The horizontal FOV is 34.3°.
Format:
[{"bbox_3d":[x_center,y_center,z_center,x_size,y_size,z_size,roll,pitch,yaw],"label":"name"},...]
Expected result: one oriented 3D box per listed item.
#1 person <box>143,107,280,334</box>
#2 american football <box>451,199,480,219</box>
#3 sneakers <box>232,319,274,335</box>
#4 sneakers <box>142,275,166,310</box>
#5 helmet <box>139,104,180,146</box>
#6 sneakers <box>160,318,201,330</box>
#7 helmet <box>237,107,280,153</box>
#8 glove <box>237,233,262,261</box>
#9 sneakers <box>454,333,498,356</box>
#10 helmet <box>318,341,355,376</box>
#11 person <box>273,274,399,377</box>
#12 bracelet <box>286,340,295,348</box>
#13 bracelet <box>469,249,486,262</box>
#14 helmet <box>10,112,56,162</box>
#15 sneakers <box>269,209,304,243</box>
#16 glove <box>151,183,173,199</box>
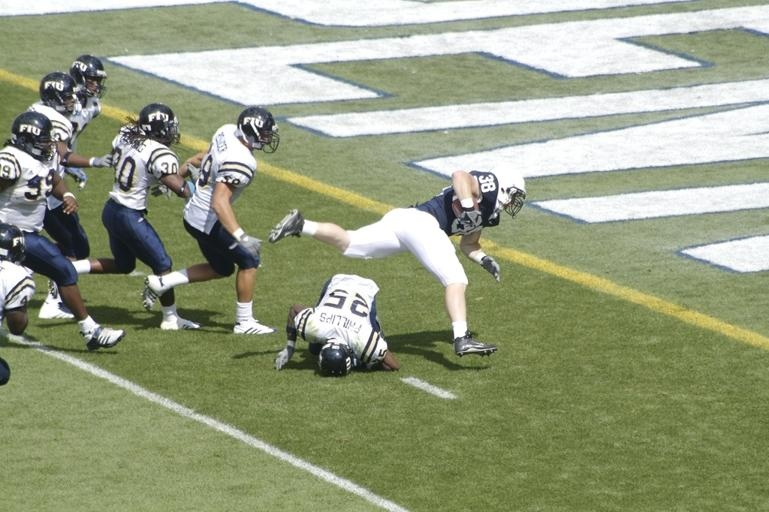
[{"bbox_3d":[-1.471,-0.345,11.977,1.248,2.197,1.099,15,17,14],"label":"person"},{"bbox_3d":[0.761,-0.432,11.662,0.147,0.157,0.240,-27,11,-18],"label":"american football"},{"bbox_3d":[-1.303,0.694,12.076,0.488,0.145,0.135,-2,12,-10],"label":"sneakers"},{"bbox_3d":[-2.258,0.364,12.067,0.253,0.421,0.160,-12,59,-28],"label":"sneakers"},{"bbox_3d":[-2.179,-1.275,12.001,0.474,0.284,0.296,6,8,-7],"label":"helmet"},{"bbox_3d":[-2.016,0.682,12.105,0.432,0.128,0.123,-2,7,-8],"label":"sneakers"},{"bbox_3d":[-1.245,-1.199,11.820,0.544,0.330,0.336,8,10,-15],"label":"helmet"},{"bbox_3d":[-1.239,-0.060,11.489,0.250,0.086,0.232,29,17,2],"label":"glove"},{"bbox_3d":[0.788,0.812,11.287,0.549,0.196,0.152,-2,3,-3],"label":"sneakers"},{"bbox_3d":[-0.441,0.933,11.224,0.332,0.298,0.356,3,-3,3],"label":"helmet"},{"bbox_3d":[-0.304,0.596,11.515,1.279,0.622,1.285,4,41,5],"label":"person"},{"bbox_3d":[-0.863,0.806,11.271,0.080,0.044,0.074,0,0,30],"label":"bracelet"},{"bbox_3d":[0.917,0.010,12.048,0.153,0.082,0.137,-9,2,-30],"label":"bracelet"},{"bbox_3d":[-3.238,-1.114,11.391,0.498,0.324,0.325,15,15,-2],"label":"helmet"},{"bbox_3d":[-0.932,-0.277,11.455,0.348,0.329,0.247,0,18,-28],"label":"sneakers"},{"bbox_3d":[-2.194,-0.625,12.158,0.148,0.149,0.057,45,-7,17],"label":"glove"}]
